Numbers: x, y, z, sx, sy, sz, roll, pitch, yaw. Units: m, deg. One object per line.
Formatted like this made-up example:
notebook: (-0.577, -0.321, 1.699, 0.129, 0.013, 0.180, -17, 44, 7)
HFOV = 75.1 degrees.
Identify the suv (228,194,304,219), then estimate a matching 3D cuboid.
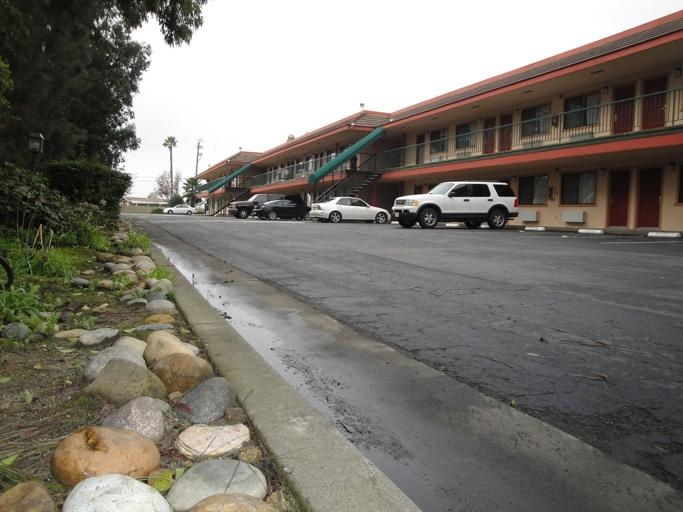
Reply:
suv: (-5.122, -4.076, 37.297, 5.498, 1.723, 2.844, 1, 0, -25)

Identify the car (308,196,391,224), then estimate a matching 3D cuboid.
car: (0.707, -2.870, 29.406, 4.760, 1.361, 2.087, -2, 4, -18)

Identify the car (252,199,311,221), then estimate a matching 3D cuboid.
car: (-4.928, -3.675, 36.874, 3.950, 1.203, 1.859, -2, 6, -25)

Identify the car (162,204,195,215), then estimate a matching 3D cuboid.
car: (-24.284, -6.817, 66.439, 3.735, 1.383, 5.926, 2, 5, -15)

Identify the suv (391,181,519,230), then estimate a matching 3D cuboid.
suv: (5.640, -2.464, 22.715, 5.453, 2.001, 2.681, 2, 0, -16)
